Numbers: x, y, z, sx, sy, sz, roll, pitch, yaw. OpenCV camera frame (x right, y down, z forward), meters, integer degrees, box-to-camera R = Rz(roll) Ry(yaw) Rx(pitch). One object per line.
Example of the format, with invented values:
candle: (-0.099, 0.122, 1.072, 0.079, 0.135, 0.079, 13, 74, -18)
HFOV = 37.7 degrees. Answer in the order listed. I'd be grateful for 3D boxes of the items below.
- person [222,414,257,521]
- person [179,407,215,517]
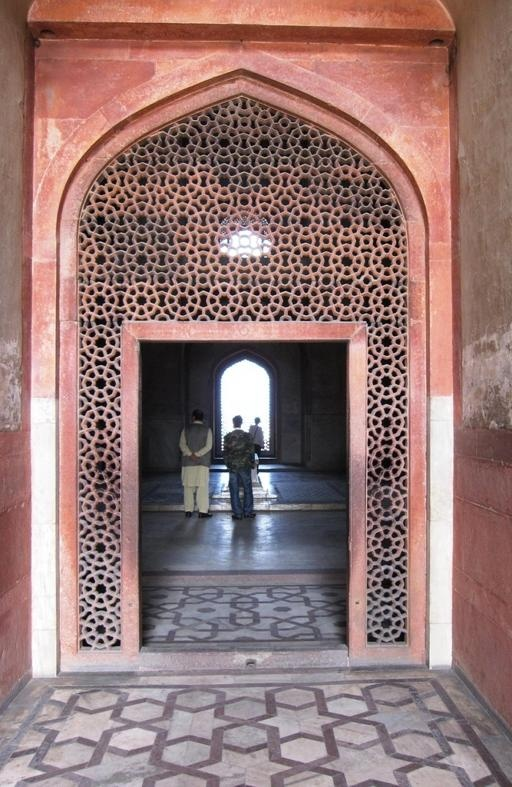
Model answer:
person: (-0.186, 0.816, 8.162, 0.317, 1.124, 0.510, 0, 0, -1)
person: (-0.661, 0.789, 8.221, 0.320, 1.157, 1.072, 0, 0, -5)
